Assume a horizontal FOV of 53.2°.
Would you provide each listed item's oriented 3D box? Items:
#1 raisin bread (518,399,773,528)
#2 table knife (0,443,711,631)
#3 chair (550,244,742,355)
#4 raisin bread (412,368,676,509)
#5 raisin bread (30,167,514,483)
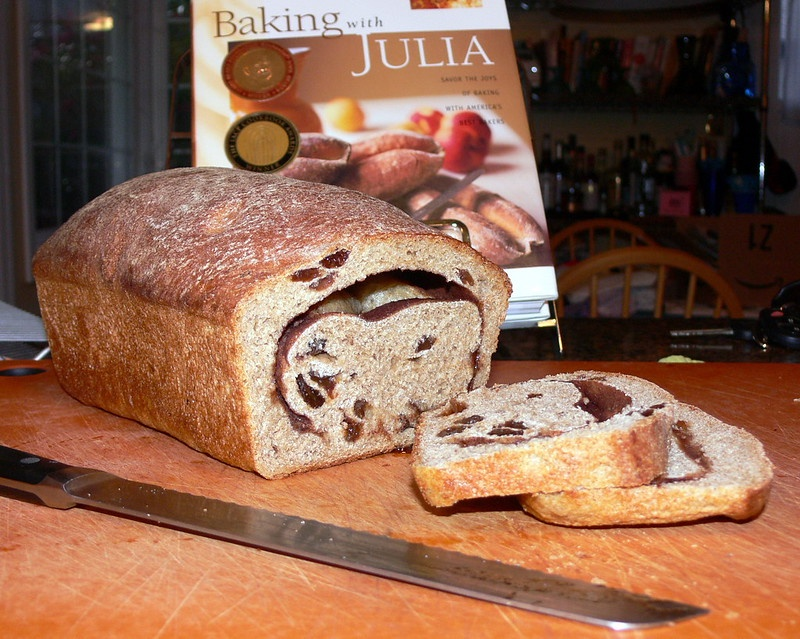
[{"bbox_3d":[0.391,0.186,1.079,0.223,0.037,0.200,20,36,25],"label":"raisin bread"},{"bbox_3d":[-0.039,0.268,0.964,1.024,0.034,0.102,5,19,16],"label":"table knife"},{"bbox_3d":[0.879,-0.099,2.899,0.645,0.536,0.488,0,-9,5],"label":"chair"},{"bbox_3d":[0.249,0.145,1.166,0.419,0.072,0.359,-11,11,17],"label":"raisin bread"},{"bbox_3d":[-0.273,-0.043,1.413,0.701,0.319,0.580,14,16,39],"label":"raisin bread"}]
